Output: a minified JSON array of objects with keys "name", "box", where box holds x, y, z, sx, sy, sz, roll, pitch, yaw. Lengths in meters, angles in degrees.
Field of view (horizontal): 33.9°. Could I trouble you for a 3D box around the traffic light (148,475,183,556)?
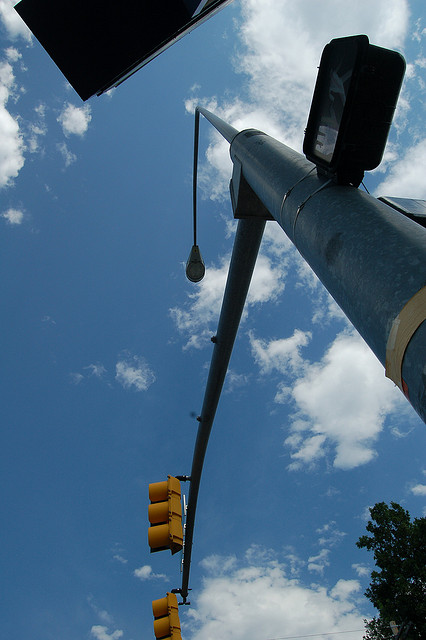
[{"name":"traffic light","box":[-0.551,2.312,8.245,0.364,1.006,0.313,-10,-51,2]}]
